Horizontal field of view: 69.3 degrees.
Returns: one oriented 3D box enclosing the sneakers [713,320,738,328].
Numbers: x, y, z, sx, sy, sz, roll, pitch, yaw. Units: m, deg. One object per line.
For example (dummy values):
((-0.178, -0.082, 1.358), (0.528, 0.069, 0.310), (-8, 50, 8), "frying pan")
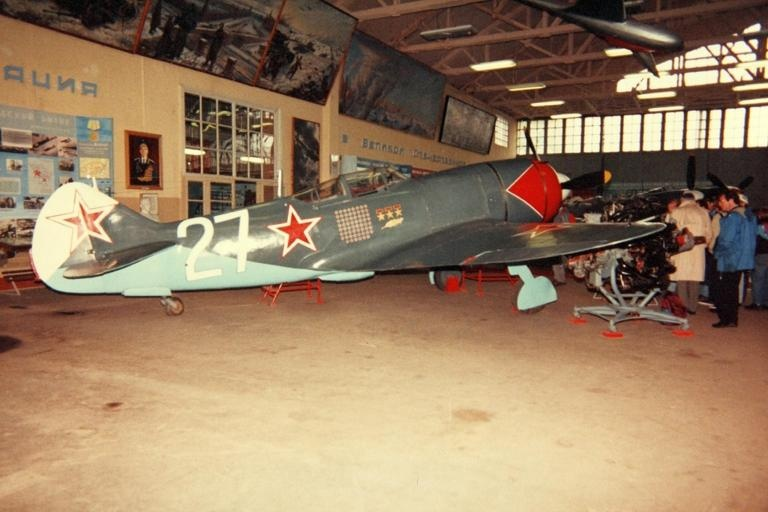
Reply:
((5.606, 1.126, 9.216), (0.407, 0.144, 0.140), (-6, 1, 10), "sneakers")
